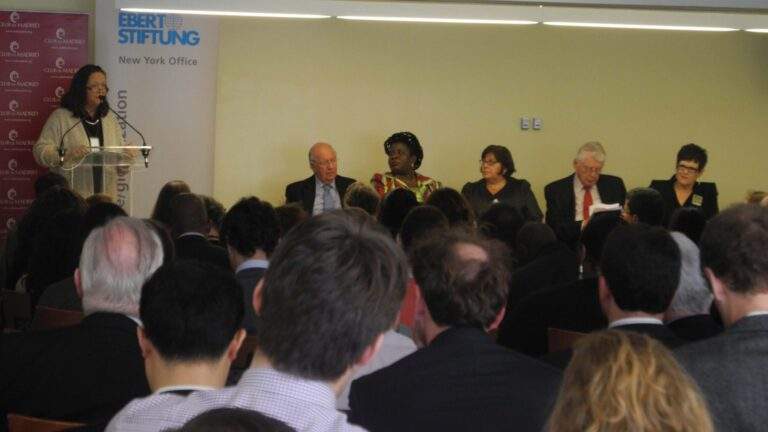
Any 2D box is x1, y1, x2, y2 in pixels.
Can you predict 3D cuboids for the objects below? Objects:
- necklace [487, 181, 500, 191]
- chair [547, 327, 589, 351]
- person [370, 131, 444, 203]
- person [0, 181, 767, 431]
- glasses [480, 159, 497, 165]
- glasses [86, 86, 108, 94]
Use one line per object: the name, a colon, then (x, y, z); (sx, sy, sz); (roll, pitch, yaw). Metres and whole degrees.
necklace: (1.410, -0.364, 7.148); (0.118, 0.099, 0.045); (-1, 18, 4)
chair: (1.174, 0.830, 3.669); (0.183, 0.183, 0.254); (2, 6, -7)
person: (0.254, -0.666, 7.233); (0.830, 0.817, 0.537); (-9, -32, 19)
person: (-0.050, 0.510, 3.126); (3.027, 1.253, 0.715); (0, -4, -6)
glasses: (1.326, -0.682, 7.084); (0.212, 0.075, 0.090); (6, 7, 28)
glasses: (-3.507, -1.559, 6.883); (0.204, 0.092, 0.093); (0, 7, -29)
